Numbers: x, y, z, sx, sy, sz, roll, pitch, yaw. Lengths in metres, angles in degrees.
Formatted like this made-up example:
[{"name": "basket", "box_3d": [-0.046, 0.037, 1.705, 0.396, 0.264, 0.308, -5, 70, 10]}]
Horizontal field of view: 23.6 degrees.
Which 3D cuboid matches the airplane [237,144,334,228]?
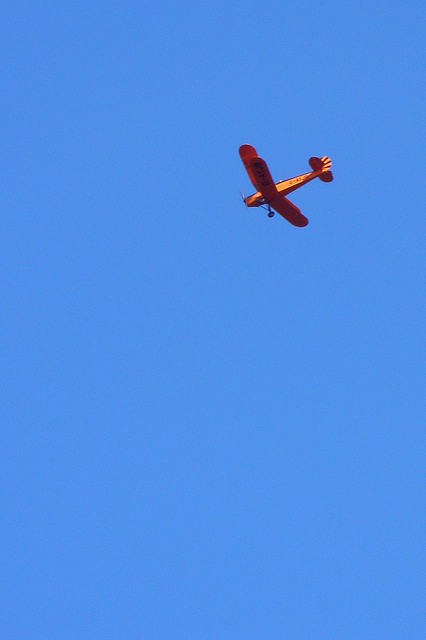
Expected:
[{"name": "airplane", "box_3d": [3.999, -6.717, 52.993, 4.965, 1.894, 6.219, -16, -33, 12]}]
